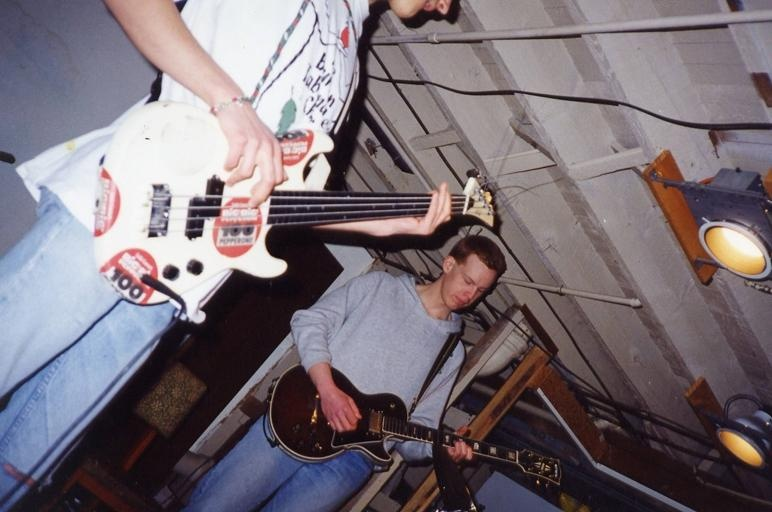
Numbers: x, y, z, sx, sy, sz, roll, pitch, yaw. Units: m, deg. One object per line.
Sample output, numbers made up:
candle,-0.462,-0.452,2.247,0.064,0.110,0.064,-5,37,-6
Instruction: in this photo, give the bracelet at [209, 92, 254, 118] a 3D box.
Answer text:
bracelet,-0.801,-0.788,2.969,0.109,0.147,0.040,51,-24,46
